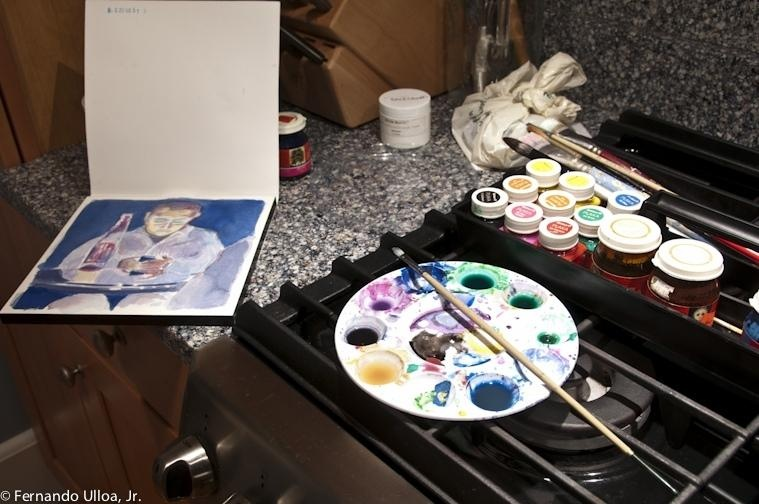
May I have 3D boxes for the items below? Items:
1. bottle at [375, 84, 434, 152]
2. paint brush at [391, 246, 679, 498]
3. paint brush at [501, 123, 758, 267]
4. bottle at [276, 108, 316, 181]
[{"bbox_3d":[0.054,-0.282,1.198,0.164,0.083,0.162,-1,36,1],"label":"bottle"},{"bbox_3d":[0.198,0.159,0.706,0.473,0.019,0.030,39,86,26],"label":"paint brush"},{"bbox_3d":[0.390,-0.083,0.877,0.379,0.034,0.045,37,73,24],"label":"paint brush"},{"bbox_3d":[-0.175,-0.201,1.124,0.072,0.112,0.072,-1,27,1],"label":"bottle"}]
